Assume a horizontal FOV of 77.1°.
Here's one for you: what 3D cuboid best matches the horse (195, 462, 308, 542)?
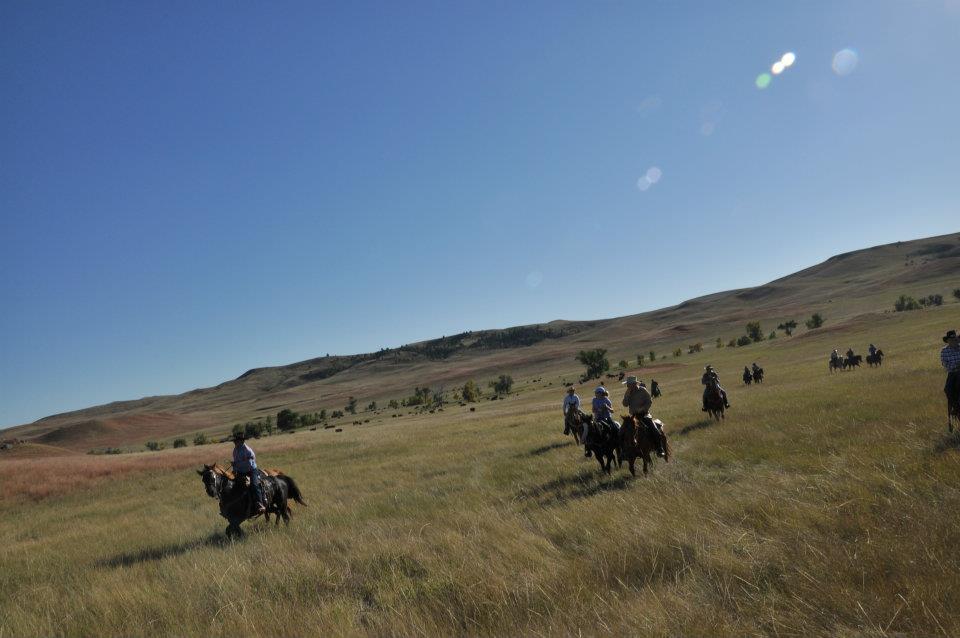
[{"bbox_3d":[-8.840,6.925,23.628,1.538,2.959,3.391,-11,-4,25],"label":"horse"}]

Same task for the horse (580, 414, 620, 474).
[{"bbox_3d":[5.023,5.109,24.789,1.481,2.077,1.545,-10,-4,10],"label":"horse"}]

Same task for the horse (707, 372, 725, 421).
[{"bbox_3d":[12.916,4.359,33.234,0.616,2.736,1.564,-8,17,15],"label":"horse"}]
